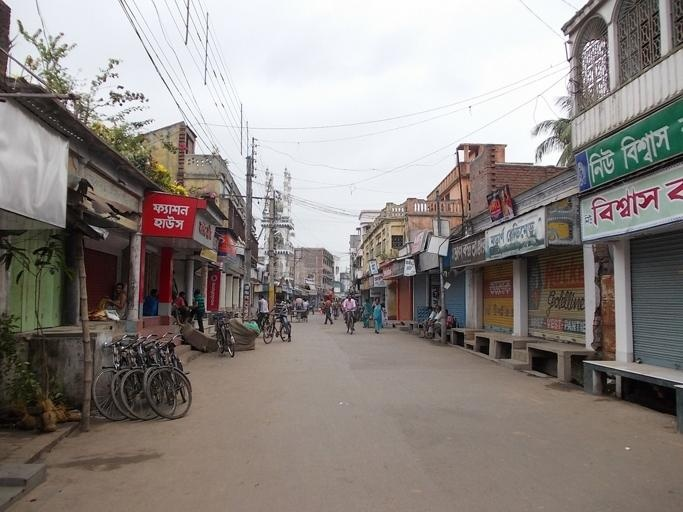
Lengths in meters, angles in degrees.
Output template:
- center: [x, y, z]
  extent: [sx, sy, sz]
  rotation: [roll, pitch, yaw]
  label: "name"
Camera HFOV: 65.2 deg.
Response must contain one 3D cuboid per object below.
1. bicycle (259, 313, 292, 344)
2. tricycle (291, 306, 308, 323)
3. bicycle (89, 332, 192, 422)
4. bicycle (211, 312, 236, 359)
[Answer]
- center: [-2.375, 2.846, 20.893]
  extent: [0.943, 1.272, 1.993]
  rotation: [-3, -11, 31]
  label: "bicycle"
- center: [-2.834, 4.163, 37.243]
  extent: [1.187, 0.986, 1.186]
  rotation: [5, -7, -39]
  label: "tricycle"
- center: [-3.491, 2.100, 9.378]
  extent: [1.597, 1.229, 1.496]
  rotation: [-1, 1, -30]
  label: "bicycle"
- center: [-3.524, 2.355, 16.130]
  extent: [0.546, 1.116, 1.682]
  rotation: [0, 1, -15]
  label: "bicycle"
